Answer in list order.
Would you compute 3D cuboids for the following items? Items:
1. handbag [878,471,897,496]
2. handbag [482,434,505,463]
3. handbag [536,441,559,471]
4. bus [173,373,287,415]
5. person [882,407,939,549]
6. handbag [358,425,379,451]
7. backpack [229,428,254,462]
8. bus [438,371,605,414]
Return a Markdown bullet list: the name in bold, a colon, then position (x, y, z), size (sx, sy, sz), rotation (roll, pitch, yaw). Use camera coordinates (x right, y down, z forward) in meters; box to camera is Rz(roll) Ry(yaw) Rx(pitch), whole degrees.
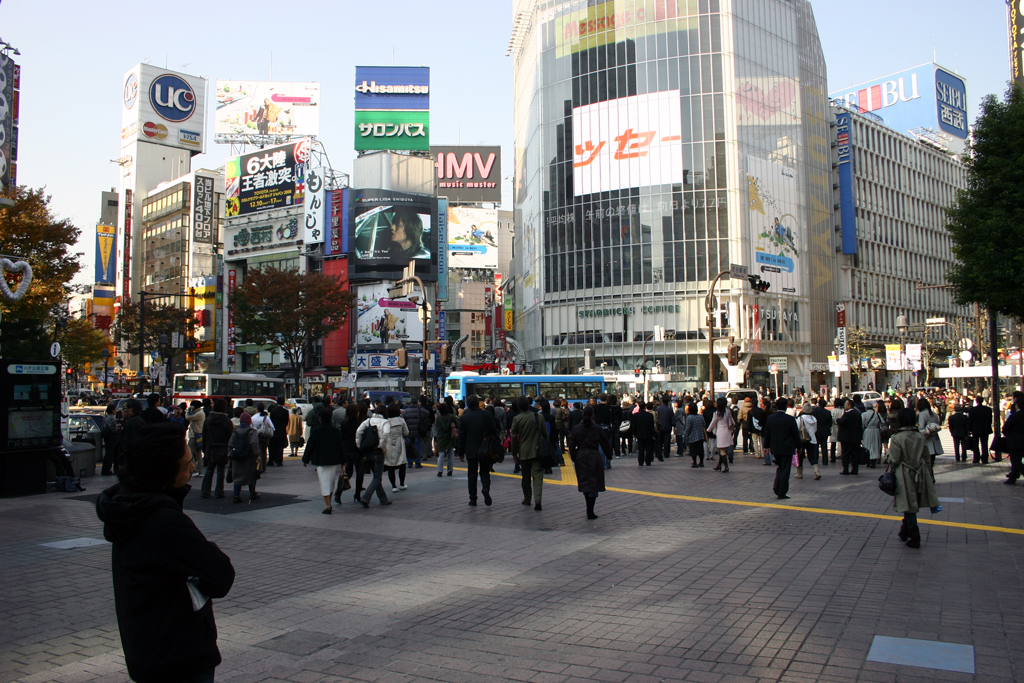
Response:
- **handbag**: position (7.536, 2.825, 19.092), size (0.323, 0.493, 0.277), rotation (-3, -4, 22)
- **handbag**: position (-0.447, 2.660, 23.640), size (0.492, 0.952, 0.956), rotation (-6, -2, 7)
- **handbag**: position (0.877, 2.742, 22.895), size (0.431, 0.671, 0.720), rotation (-2, -4, 14)
- **bus**: position (-12.702, 2.296, 42.229), size (1.625, 1.633, 5.426), rotation (2, 3, 40)
- **person**: position (7.935, 2.722, 19.127), size (1.062, 2.734, 0.585), rotation (0, -4, -19)
- **handbag**: position (-3.535, 2.345, 23.238), size (0.567, 0.763, 0.377), rotation (2, -9, -16)
- **backpack**: position (-6.564, 2.526, 23.047), size (0.683, 0.896, 0.481), rotation (2, -13, -5)
- **bus**: position (0.713, 2.984, 45.428), size (9.158, 2.713, 2.683), rotation (0, 0, -10)
